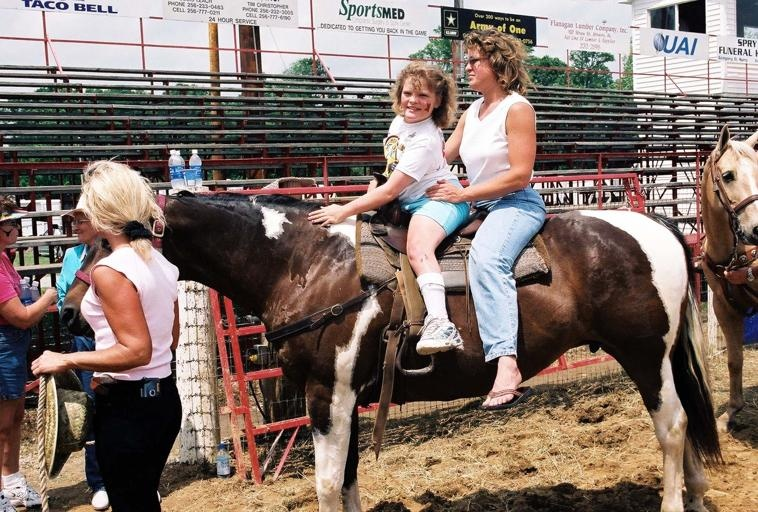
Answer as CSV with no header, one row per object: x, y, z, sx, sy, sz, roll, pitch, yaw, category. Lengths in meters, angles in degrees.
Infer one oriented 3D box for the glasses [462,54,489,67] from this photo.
0.870,-1.765,6.654,0.243,0.094,0.067,3,53,22,glasses

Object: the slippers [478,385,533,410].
1.135,1.222,6.250,0.438,0.114,0.204,-10,0,-37,slippers

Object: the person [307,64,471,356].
0.280,-0.433,6.464,1.122,2.469,1.085,3,15,33,person
